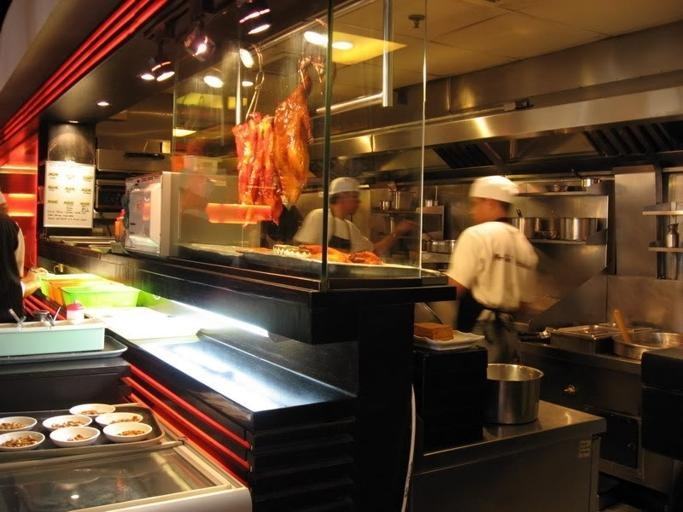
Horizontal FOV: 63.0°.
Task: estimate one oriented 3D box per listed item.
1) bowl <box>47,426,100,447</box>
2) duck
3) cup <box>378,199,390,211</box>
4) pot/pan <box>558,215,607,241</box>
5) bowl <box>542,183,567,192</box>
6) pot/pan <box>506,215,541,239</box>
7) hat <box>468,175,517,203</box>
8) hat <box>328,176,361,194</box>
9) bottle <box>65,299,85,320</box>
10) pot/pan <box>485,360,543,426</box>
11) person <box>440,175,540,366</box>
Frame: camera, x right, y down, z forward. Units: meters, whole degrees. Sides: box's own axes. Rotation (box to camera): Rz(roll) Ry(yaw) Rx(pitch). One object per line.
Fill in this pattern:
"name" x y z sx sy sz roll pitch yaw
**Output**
"bowl" -1.043 0.704 2.175 0.184 0.039 0.136 0 14 -4
"duck" -0.115 -0.437 1.923 0.186 0.518 0.154 12 -14 -30
"cup" 0.133 -0.163 1.779 0.028 0.025 0.034 0 4 -28
"pot/pan" 1.998 -0.219 4.728 0.247 0.140 0.238 0 -3 3
"bowl" 1.845 -0.585 4.810 0.083 0.068 0.250 -3 15 -15
"pot/pan" 1.652 -0.259 4.962 0.180 0.144 0.202 1 -2 -5
"hat" 1.161 -0.513 4.299 0.286 0.159 0.206 7 6 29
"hat" 0.004 -0.215 1.706 0.075 0.036 0.051 3 3 -10
"bottle" -1.575 0.313 3.277 0.122 0.120 0.118 2 3 9
"pot/pan" 0.717 0.577 2.385 0.248 0.183 0.252 0 -1 -1
"person" 1.127 0.149 4.190 0.603 1.431 0.688 6 15 19
